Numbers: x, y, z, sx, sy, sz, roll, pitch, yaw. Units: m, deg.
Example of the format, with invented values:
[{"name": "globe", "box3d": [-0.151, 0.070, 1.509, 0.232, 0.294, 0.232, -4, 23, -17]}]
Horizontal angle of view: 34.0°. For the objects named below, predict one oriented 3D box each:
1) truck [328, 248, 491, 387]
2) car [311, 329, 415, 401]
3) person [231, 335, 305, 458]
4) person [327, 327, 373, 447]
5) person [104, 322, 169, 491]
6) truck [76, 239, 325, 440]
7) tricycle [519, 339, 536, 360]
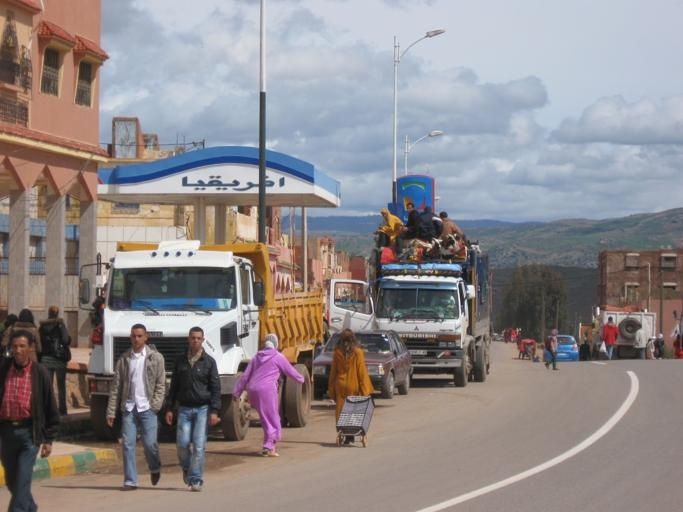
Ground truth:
[{"name": "truck", "box3d": [2.823, 1.985, 34.389, 2.510, 3.332, 5.868, -2, -8, 12]}, {"name": "car", "box3d": [0.956, 2.802, 29.287, 1.859, 1.687, 3.742, 0, -2, 21]}, {"name": "person", "box3d": [-1.504, 2.754, 22.249, 1.010, 2.321, 1.158, 0, -1, -26]}, {"name": "person", "box3d": [0.194, 2.838, 24.065, 0.816, 2.385, 0.929, -1, -2, 4]}, {"name": "person", "box3d": [-3.600, 2.603, 19.533, 0.979, 2.856, 0.646, -1, -5, -13]}, {"name": "truck", "box3d": [-2.753, 1.579, 25.822, 2.950, 3.138, 6.309, -2, -8, 12]}, {"name": "tricycle", "box3d": [11.434, 5.640, 69.245, 0.865, 1.393, 2.503, 2, 3, 12]}]
